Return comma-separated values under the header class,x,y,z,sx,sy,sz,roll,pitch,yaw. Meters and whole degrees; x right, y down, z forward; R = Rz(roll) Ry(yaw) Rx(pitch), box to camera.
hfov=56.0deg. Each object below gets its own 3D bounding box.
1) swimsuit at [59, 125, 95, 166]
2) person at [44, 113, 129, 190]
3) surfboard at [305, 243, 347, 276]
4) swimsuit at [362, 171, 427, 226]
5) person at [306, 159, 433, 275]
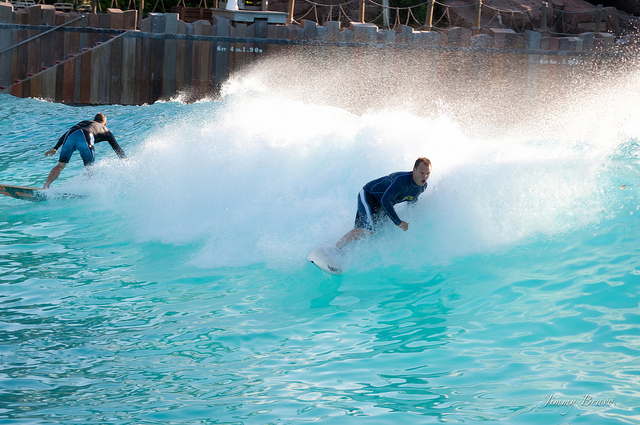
class,x,y,z,sx,sy,sz,roll,pitch,yaw
swimsuit,-4.038,-1.158,10.426,0.744,0.591,0.276,9,-11,6
person,-4.013,-1.074,10.377,1.239,0.462,1.470,18,31,6
surfboard,0.060,0.562,7.238,0.425,0.127,0.429,32,41,27
swimsuit,0.907,-0.210,7.462,0.754,0.643,0.496,5,11,2
person,0.642,0.003,7.493,1.394,1.438,0.780,4,11,-7
